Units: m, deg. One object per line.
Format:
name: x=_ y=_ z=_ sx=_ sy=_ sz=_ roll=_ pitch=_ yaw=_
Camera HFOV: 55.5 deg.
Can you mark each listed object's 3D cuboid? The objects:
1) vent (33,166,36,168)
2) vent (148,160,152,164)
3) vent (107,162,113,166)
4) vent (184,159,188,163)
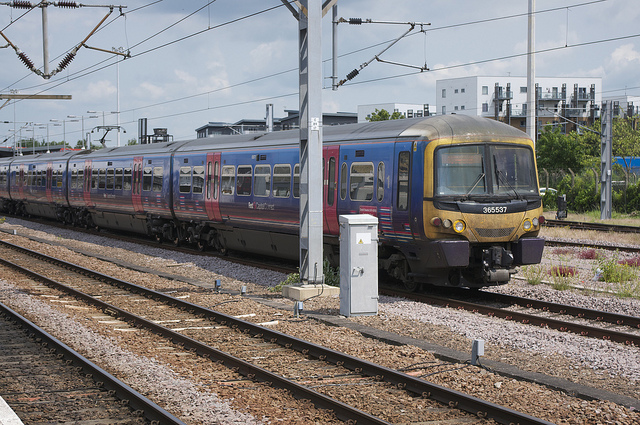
vent: x=-17.951 y=-2.821 z=37.725 sx=0.268 sy=0.153 sz=0.181 roll=-3 pitch=4 yaw=-26
vent: x=-7.032 y=-2.060 z=24.822 sx=0.145 sy=0.140 sz=0.037 roll=2 pitch=-2 yaw=7
vent: x=-9.787 y=-2.259 z=28.004 sx=0.183 sy=0.134 sz=0.046 roll=5 pitch=9 yaw=11
vent: x=-4.989 y=-1.891 z=22.323 sx=0.177 sy=0.100 sz=0.175 roll=0 pitch=29 yaw=-1
